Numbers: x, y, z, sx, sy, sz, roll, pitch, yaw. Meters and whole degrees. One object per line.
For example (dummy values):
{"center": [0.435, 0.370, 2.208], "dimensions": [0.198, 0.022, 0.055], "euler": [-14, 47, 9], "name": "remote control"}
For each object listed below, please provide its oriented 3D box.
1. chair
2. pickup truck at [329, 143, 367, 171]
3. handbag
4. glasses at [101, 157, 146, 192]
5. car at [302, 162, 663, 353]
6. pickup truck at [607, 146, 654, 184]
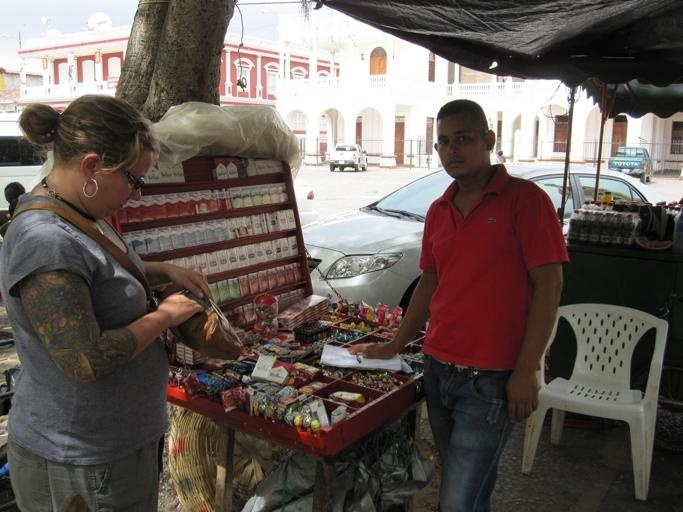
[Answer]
{"center": [2.066, 1.110, 3.819], "dimensions": [0.939, 1.236, 0.984], "euler": [-5, 5, -45], "name": "chair"}
{"center": [0.377, -6.518, 31.963], "dimensions": [1.523, 1.131, 2.594], "euler": [3, 16, 14], "name": "pickup truck"}
{"center": [-0.675, 0.300, 2.394], "dimensions": [0.566, 0.225, 0.433], "euler": [21, -2, 45], "name": "handbag"}
{"center": [-0.812, -0.299, 1.766], "dimensions": [0.109, 0.032, 0.085], "euler": [28, 3, -5], "name": "glasses"}
{"center": [1.636, -0.232, 6.780], "dimensions": [4.818, 1.581, 2.176], "euler": [-4, 8, -31], "name": "car"}
{"center": [16.362, -5.234, 26.559], "dimensions": [3.261, 1.416, 1.691], "euler": [-19, 22, -40], "name": "pickup truck"}
